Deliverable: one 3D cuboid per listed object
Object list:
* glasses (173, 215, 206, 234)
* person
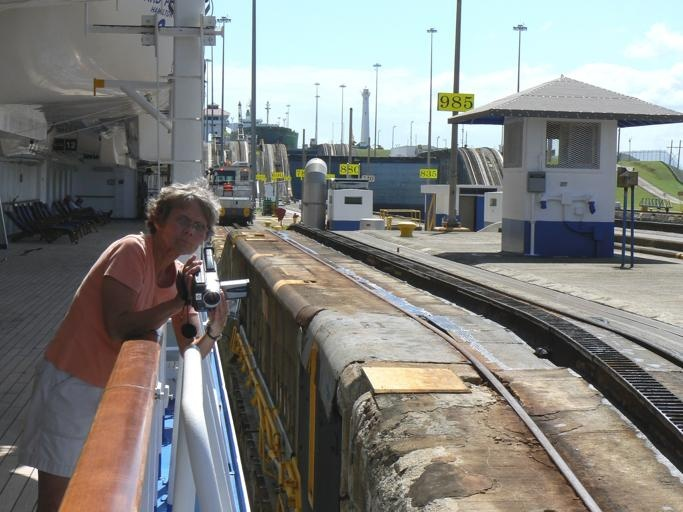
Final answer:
[{"bbox_3d":[-0.848,-0.177,3.309,0.101,0.035,0.102,20,-24,-39],"label":"glasses"},{"bbox_3d":[-1.220,0.501,3.174,1.063,1.746,0.727,-2,7,-15],"label":"person"}]
